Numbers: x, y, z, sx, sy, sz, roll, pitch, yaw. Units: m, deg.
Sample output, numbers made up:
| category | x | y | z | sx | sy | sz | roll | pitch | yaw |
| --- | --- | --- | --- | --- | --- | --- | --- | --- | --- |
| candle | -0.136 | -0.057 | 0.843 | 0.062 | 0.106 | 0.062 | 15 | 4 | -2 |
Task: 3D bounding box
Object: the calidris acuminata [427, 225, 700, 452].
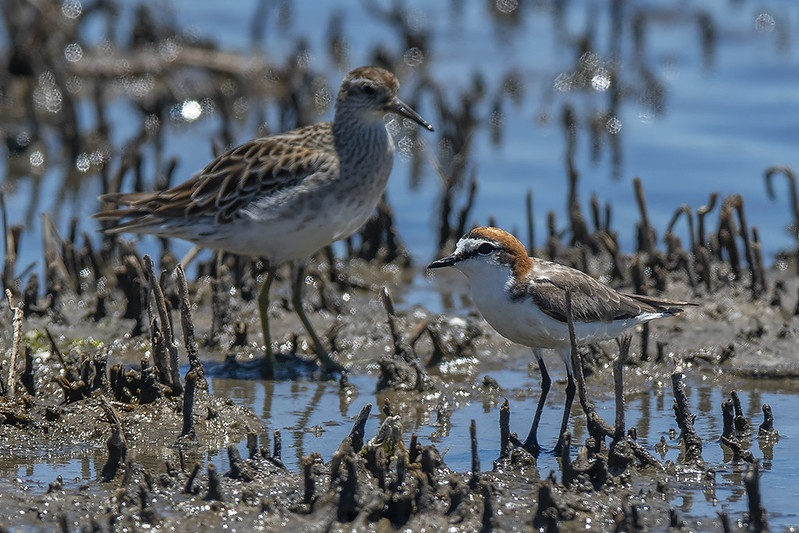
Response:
| category | x | y | z | sx | sy | sz | roll | pitch | yaw |
| --- | --- | --- | --- | --- | --- | --- | --- | --- | --- |
| calidris acuminata | 1.559 | 0.619 | 8.559 | 2.427 | 1.933 | 0.933 | -2 | 4 | -33 |
